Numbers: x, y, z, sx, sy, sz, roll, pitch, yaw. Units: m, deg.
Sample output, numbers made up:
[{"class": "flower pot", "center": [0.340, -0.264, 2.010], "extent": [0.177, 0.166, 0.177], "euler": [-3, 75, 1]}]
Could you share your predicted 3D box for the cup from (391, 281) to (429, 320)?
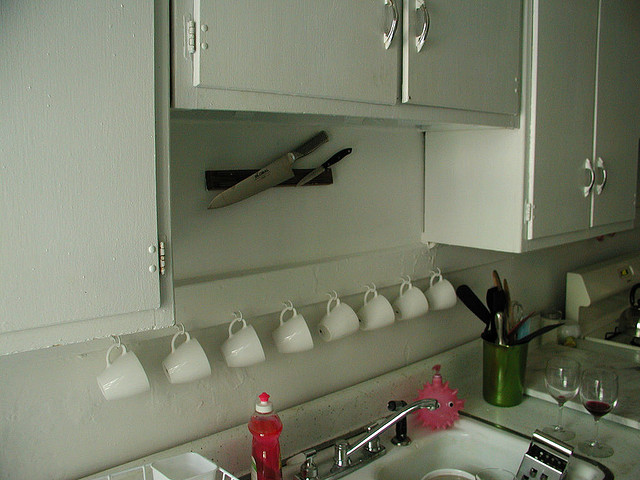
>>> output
[{"class": "cup", "center": [0.295, 0.200, 1.746], "extent": [0.113, 0.119, 0.071], "euler": [-5, 13, -26]}]

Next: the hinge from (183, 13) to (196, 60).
[{"class": "hinge", "center": [-0.243, -0.386, 0.999], "extent": [0.015, 0.063, 0.016], "euler": [4, 21, 1]}]

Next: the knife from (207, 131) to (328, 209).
[{"class": "knife", "center": [-0.090, -0.219, 1.487], "extent": [0.515, 0.110, 0.039], "euler": [-36, 5, -35]}]

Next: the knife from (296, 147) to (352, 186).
[{"class": "knife", "center": [0.003, -0.212, 1.526], "extent": [0.198, 0.030, 0.010], "euler": [-39, -2, -27]}]

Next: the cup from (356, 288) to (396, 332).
[{"class": "cup", "center": [0.169, 0.233, 1.643], "extent": [0.099, 0.147, 0.105], "euler": [1, 12, 0]}]

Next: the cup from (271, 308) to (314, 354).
[{"class": "cup", "center": [-0.076, 0.251, 1.445], "extent": [0.083, 0.107, 0.083], "euler": [1, 12, 0]}]

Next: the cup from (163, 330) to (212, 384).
[{"class": "cup", "center": [-0.324, 0.286, 1.275], "extent": [0.098, 0.113, 0.075], "euler": [5, 12, 20]}]

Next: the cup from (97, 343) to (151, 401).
[{"class": "cup", "center": [-0.439, 0.306, 1.200], "extent": [0.096, 0.148, 0.096], "euler": [-12, -8, -2]}]

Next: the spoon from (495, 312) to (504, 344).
[{"class": "spoon", "center": [0.598, 0.295, 1.762], "extent": [0.031, 0.106, 0.022], "euler": [4, 12, 17]}]

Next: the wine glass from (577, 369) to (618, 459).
[{"class": "wine glass", "center": [0.821, 0.498, 1.562], "extent": [0.104, 0.211, 0.227], "euler": [7, 13, 29]}]

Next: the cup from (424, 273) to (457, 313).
[{"class": "cup", "center": [0.409, 0.171, 1.883], "extent": [0.087, 0.102, 0.143], "euler": [0, 34, -23]}]

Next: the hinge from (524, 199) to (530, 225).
[{"class": "hinge", "center": [0.628, -0.085, 1.610], "extent": [0.021, 0.072, 0.009], "euler": [-5, 13, -28]}]
